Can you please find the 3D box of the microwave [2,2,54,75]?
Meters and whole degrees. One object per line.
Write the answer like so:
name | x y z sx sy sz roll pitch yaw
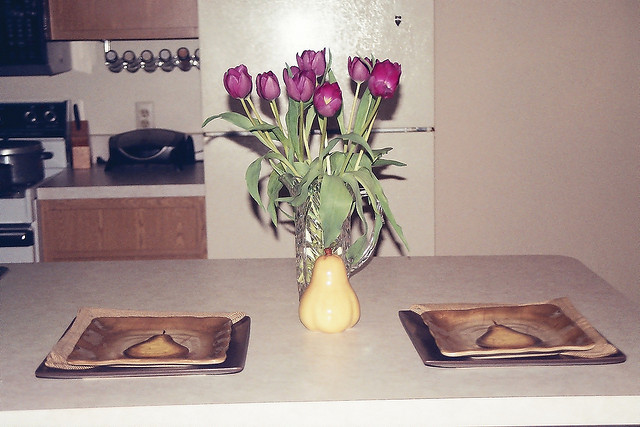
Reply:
microwave | -1.485 -0.872 2.820 0.410 0.347 0.139 8 20 25

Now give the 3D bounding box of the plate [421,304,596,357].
plate | 0.404 0.257 1.207 0.438 0.020 0.364 0 8 1

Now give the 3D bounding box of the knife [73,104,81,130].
knife | -1.390 -0.549 3.187 0.027 0.136 0.087 -9 20 -22

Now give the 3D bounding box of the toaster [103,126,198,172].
toaster | -0.949 -0.362 3.141 0.457 0.206 0.352 -1 17 -2

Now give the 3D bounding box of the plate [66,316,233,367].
plate | -0.352 0.228 1.178 0.155 0.021 0.130 0 9 -2

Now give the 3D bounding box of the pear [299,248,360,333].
pear | 0.016 0.172 1.270 0.141 0.184 0.145 -6 12 -44
